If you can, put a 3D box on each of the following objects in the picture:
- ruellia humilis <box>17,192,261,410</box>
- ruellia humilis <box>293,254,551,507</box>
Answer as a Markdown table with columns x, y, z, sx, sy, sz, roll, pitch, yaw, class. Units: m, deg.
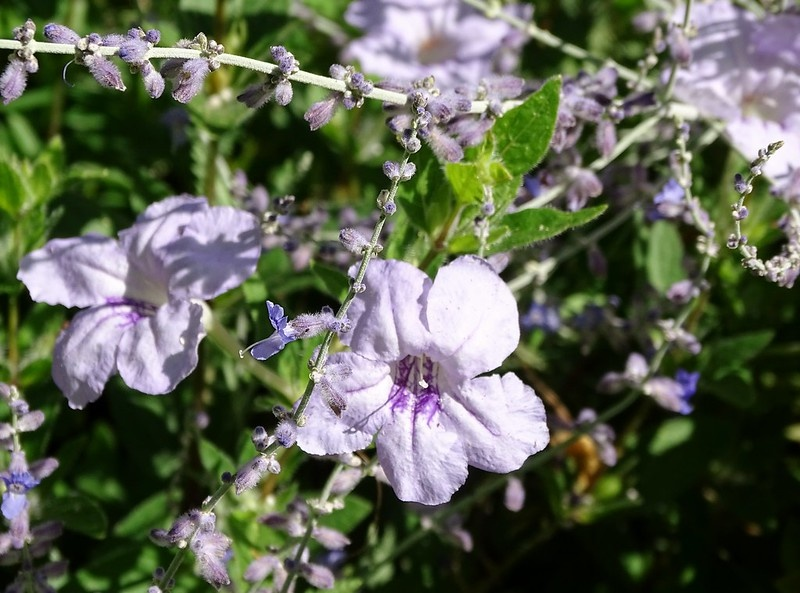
| x | y | z | sx | sy | sz | roll | pitch | yaw | class |
| --- | --- | --- | --- | --- | --- | --- | --- | --- | --- |
| -0.496 | -0.010 | 1.756 | 0.390 | 0.473 | 0.141 | 10 | -6 | 27 | ruellia humilis |
| 0.068 | 0.151 | 1.669 | 0.462 | 0.376 | 0.265 | 14 | 35 | 4 | ruellia humilis |
